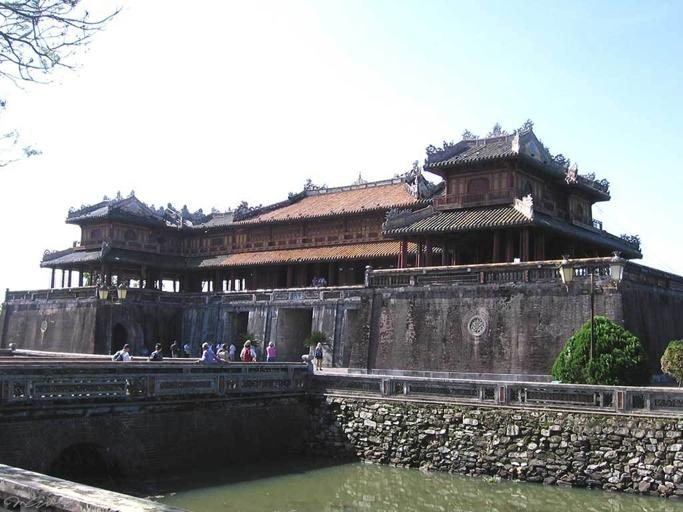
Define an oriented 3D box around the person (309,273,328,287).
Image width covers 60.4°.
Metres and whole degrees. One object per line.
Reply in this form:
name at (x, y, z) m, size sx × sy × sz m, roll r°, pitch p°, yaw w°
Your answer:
person at (-1.356, 1.499, 35.830) m, size 0.652 × 0.739 × 1.158 m, roll -1°, pitch -9°, yaw -3°
